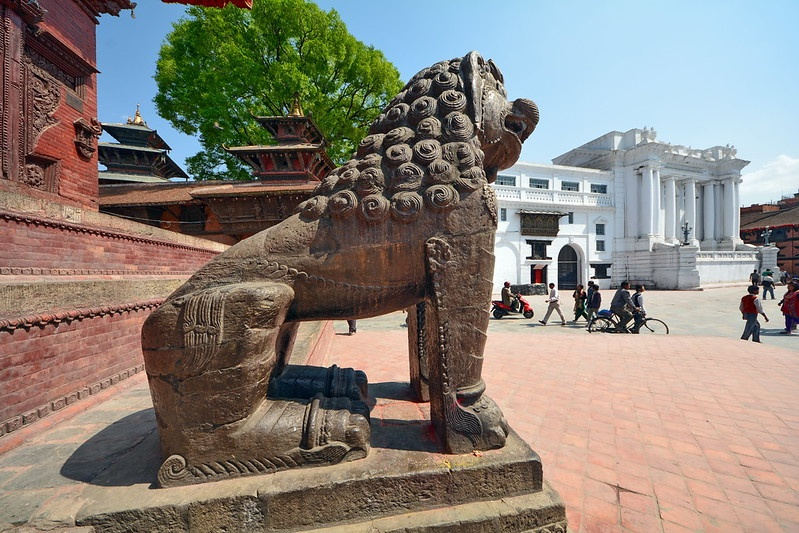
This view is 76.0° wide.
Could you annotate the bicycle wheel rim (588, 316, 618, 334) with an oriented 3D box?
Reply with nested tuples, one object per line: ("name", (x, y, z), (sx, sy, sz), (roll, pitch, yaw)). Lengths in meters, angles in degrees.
("bicycle wheel rim", (4.788, 1.370, 12.006), (0.714, 0.384, 0.333), (-1, 7, 8))

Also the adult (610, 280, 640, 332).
("adult", (5.156, 0.932, 11.732), (0.709, 1.169, 0.561), (2, -2, 30))

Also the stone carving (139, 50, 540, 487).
("stone carving", (-0.600, -0.149, 6.852), (5.277, 4.597, 3.253), (-5, 6, -3))

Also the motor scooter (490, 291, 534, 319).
("motor scooter", (3.164, 1.115, 15.006), (1.709, 0.994, 0.687), (-1, 5, -5))
